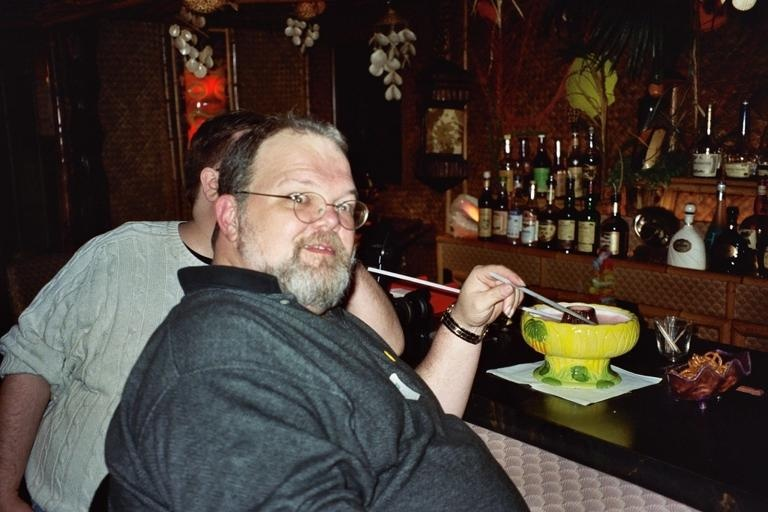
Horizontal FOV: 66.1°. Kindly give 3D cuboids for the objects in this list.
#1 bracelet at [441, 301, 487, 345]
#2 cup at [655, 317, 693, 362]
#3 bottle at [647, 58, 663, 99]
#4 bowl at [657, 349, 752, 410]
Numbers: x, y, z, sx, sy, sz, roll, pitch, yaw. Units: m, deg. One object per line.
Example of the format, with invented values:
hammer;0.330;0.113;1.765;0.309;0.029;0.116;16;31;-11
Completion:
bracelet;0.284;0.251;2.123;0.130;0.041;0.131;30;15;-10
cup;1.136;0.342;2.306;0.144;0.147;0.146;10;-12;2
bottle;1.753;-1.128;3.784;0.098;0.233;0.086;7;8;24
bowl;1.099;0.393;1.997;0.270;0.094;0.169;-8;6;-34
